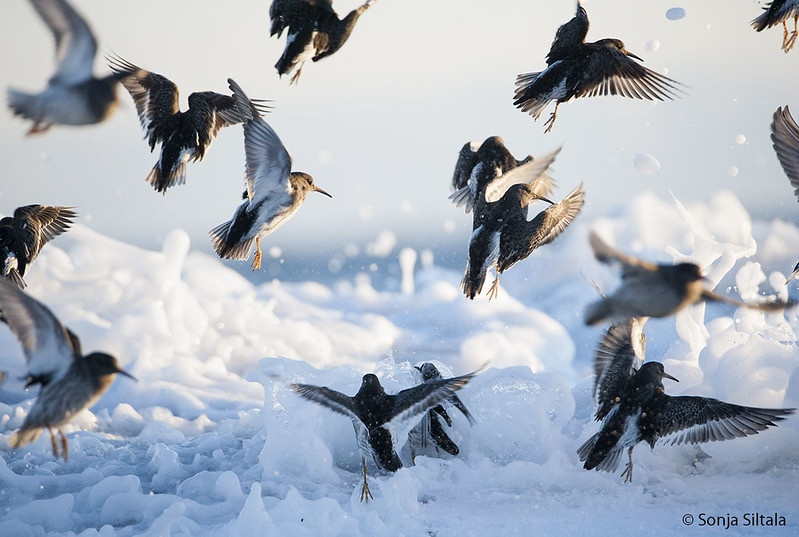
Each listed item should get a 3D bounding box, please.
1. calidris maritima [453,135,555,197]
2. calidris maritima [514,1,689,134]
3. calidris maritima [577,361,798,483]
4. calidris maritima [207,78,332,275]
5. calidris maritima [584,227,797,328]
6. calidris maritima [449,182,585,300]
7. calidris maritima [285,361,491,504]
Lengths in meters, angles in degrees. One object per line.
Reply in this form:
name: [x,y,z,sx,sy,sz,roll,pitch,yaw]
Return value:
calidris maritima: [1.579,-1.291,19.648,0.813,0.411,0.863,25,0,38]
calidris maritima: [2.380,-2.570,18.989,1.838,1.472,0.522,-1,-3,31]
calidris maritima: [3.719,1.985,18.856,1.274,0.991,2.434,-13,17,-25]
calidris maritima: [-1.588,-0.986,17.082,1.431,1.393,2.124,-8,7,-21]
calidris maritima: [3.081,0.234,16.581,1.433,0.453,2.486,0,-19,30]
calidris maritima: [1.562,-0.348,19.120,1.429,1.445,0.716,1,-3,1]
calidris maritima: [-0.172,1.857,18.207,1.996,1.124,0.373,0,-3,7]
